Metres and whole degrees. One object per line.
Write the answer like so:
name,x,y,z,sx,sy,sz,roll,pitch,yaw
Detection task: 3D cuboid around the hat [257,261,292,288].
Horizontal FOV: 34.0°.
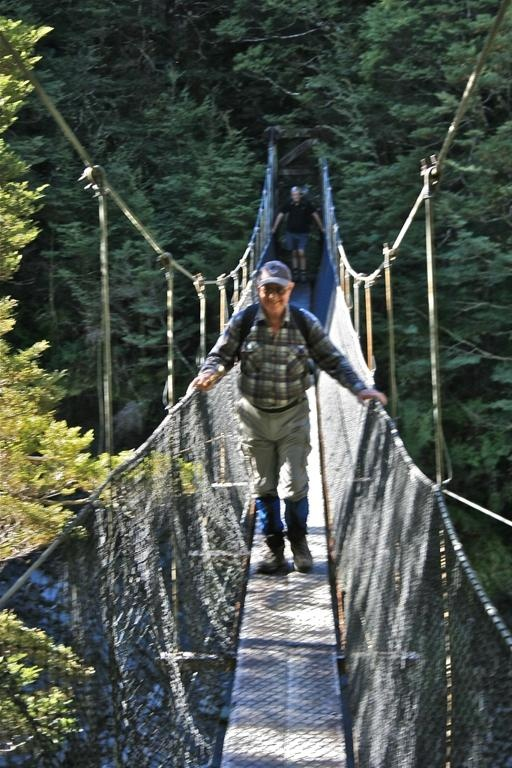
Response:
hat,0.046,-0.311,2.395,0.098,0.074,0.162,-9,11,1
